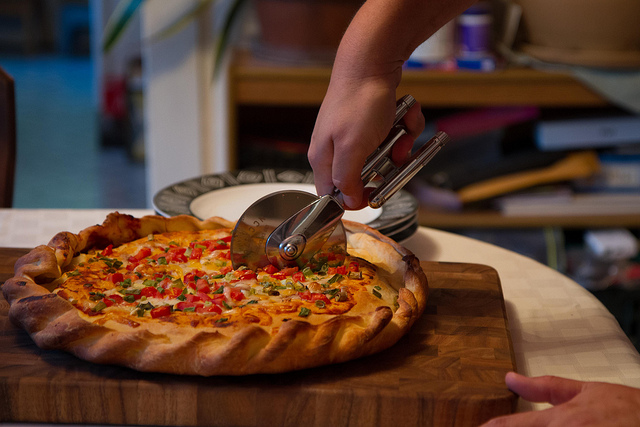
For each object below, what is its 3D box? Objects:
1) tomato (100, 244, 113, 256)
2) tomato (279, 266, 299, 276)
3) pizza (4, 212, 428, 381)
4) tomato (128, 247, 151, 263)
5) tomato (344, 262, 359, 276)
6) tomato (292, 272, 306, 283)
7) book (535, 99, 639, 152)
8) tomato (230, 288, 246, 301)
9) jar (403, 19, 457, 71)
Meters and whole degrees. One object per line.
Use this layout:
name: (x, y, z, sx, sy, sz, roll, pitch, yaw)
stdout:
tomato: (-0.667, 0.113, 1.780, 0.027, 0.030, 0.026, 2, 51, -2)
tomato: (-0.093, 0.171, 1.696, 0.030, 0.011, 0.030, -11, 10, -19)
pizza: (-0.289, 0.236, 1.557, 0.705, 0.109, 0.637, 2, 14, 8)
tomato: (-0.564, 0.126, 1.767, 0.035, 0.018, 0.046, 16, 43, 33)
tomato: (0.096, 0.170, 1.750, 0.039, 0.014, 0.029, -28, -17, 20)
tomato: (-0.063, 0.187, 1.673, 0.026, 0.025, 0.026, -1, 5, 22)
book: (1.719, -0.558, 3.679, 0.606, 0.151, 0.311, -3, 67, 1)
tomato: (-0.230, 0.224, 1.578, 0.029, 0.013, 0.032, -5, 21, -27)
jar: (0.730, -1.091, 3.696, 0.323, 0.331, 0.310, -2, 11, 0)
